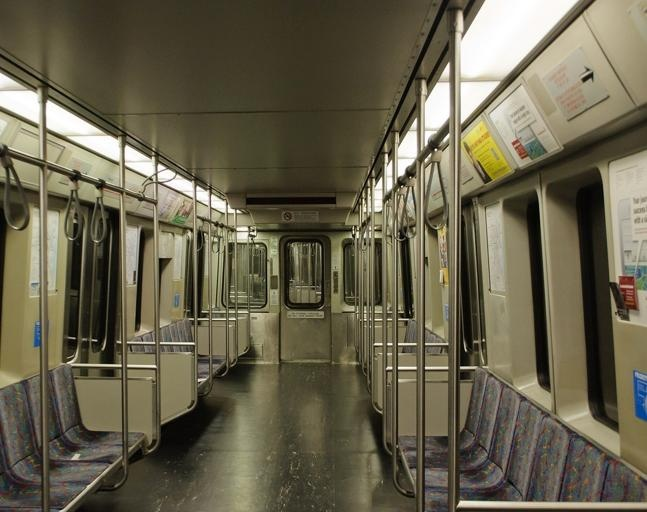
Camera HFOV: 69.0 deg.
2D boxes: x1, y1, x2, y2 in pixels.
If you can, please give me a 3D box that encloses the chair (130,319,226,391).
[{"bbox_3d":[-1.732,1.148,5.511,0.404,0.545,1.315,2,-4,-4],"label":"chair"}]
